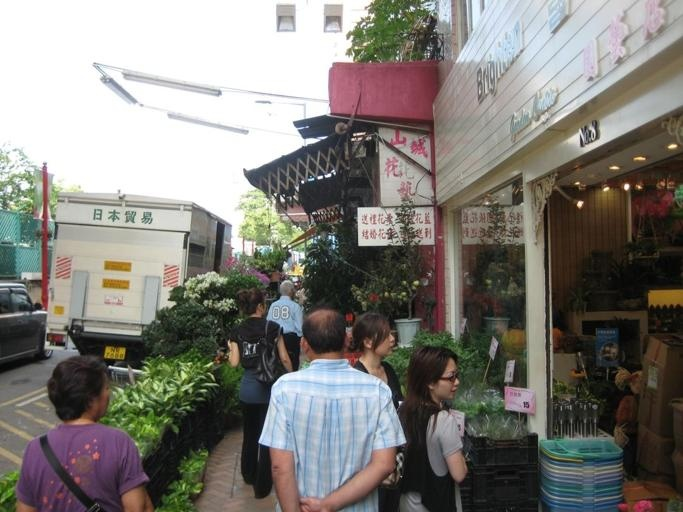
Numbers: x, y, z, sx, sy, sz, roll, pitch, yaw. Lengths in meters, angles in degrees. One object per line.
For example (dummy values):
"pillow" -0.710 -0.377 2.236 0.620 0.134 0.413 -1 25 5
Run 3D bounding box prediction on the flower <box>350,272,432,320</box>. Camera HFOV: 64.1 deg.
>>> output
"flower" 0.805 0.632 8.859 0.951 0.847 0.876 1 -7 -16

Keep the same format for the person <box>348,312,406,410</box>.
"person" 0.270 0.887 4.675 0.359 0.785 0.819 -2 4 18

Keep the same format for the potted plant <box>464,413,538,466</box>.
"potted plant" 1.621 1.722 4.999 0.478 0.248 0.671 -9 -11 32

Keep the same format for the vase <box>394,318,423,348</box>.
"vase" 0.982 1.162 8.206 0.339 0.327 0.374 1 -2 18

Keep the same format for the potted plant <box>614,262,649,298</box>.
"potted plant" 3.682 0.277 6.993 0.413 0.578 0.447 -7 8 26

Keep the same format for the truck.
"truck" -4.253 0.417 12.057 2.493 3.537 5.258 5 4 -8
